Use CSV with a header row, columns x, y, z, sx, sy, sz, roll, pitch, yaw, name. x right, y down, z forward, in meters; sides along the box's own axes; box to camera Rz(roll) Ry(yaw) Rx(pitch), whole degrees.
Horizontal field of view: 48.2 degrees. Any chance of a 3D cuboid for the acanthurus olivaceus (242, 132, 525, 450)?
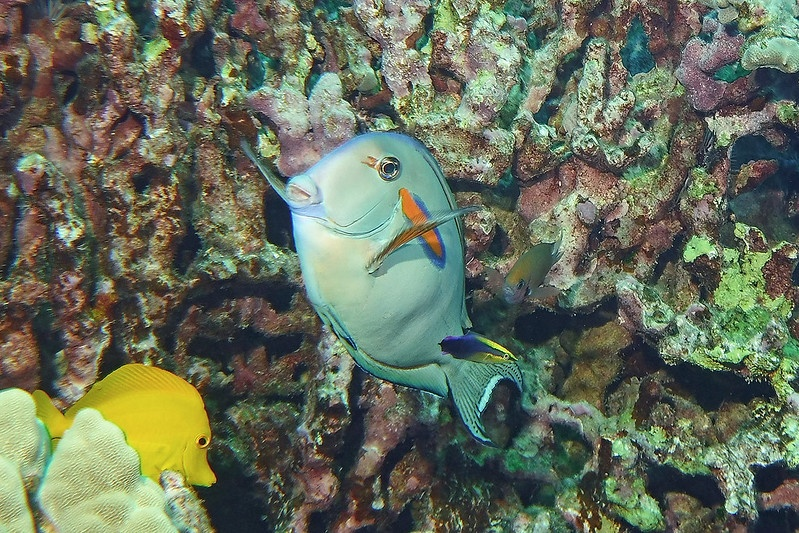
x,y,z,sx,sy,sz,roll,pitch,yaw,name
0.158,0.191,5.744,1.521,2.261,1.356,-2,45,55,acanthurus olivaceus
